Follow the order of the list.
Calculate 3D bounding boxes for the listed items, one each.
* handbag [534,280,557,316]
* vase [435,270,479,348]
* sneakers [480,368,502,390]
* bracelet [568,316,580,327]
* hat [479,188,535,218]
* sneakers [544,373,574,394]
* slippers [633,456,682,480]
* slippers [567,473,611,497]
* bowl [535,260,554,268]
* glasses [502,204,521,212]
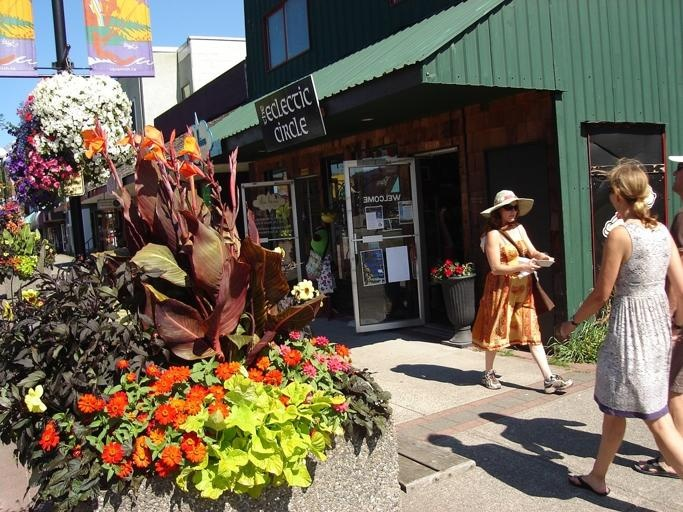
[{"bbox_3d":[2.131,0.437,5.400,0.225,0.383,0.168,1,-28,-6],"label":"handbag"},{"bbox_3d":[1.786,0.802,7.426,0.599,0.980,0.581,-1,-5,-28],"label":"vase"},{"bbox_3d":[1.683,1.393,5.678,0.114,0.154,0.301,-2,1,-19],"label":"sneakers"},{"bbox_3d":[1.482,0.414,3.172,0.019,0.069,0.064,1,-4,-27],"label":"bracelet"},{"bbox_3d":[1.862,-0.584,5.564,0.427,0.201,0.511,-12,-8,8],"label":"hat"},{"bbox_3d":[2.271,1.357,5.303,0.301,0.193,0.164,-7,10,-3],"label":"sneakers"},{"bbox_3d":[2.288,1.506,3.630,0.270,0.090,0.120,2,6,36],"label":"slippers"},{"bbox_3d":[1.710,1.570,3.464,0.097,0.065,0.224,-6,21,-39],"label":"slippers"},{"bbox_3d":[2.147,0.079,5.318,0.166,0.089,0.312,-3,4,17],"label":"bowl"},{"bbox_3d":[1.805,-0.512,5.335,0.169,0.075,0.088,-6,4,-24],"label":"glasses"}]
